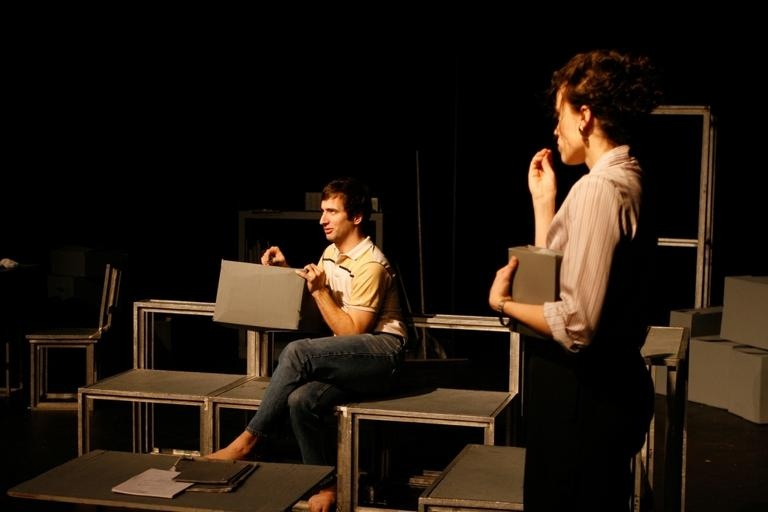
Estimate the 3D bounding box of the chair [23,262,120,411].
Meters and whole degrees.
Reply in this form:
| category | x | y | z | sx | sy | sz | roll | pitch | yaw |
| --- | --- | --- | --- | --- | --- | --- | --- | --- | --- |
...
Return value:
| category | x | y | z | sx | sy | sz | roll | pitch | yaw |
| --- | --- | --- | --- | --- | --- | --- | --- | --- | --- |
| chair | -2.412 | 0.634 | 6.115 | 0.648 | 0.978 | 0.601 | 0 | -3 | -27 |

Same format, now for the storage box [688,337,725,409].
| category | x | y | z | sx | sy | sz | roll | pitch | yaw |
| --- | --- | --- | --- | --- | --- | --- | --- | --- | --- |
| storage box | 2.424 | 0.875 | 5.912 | 0.130 | 0.512 | 0.373 | -2 | 1 | -27 |
